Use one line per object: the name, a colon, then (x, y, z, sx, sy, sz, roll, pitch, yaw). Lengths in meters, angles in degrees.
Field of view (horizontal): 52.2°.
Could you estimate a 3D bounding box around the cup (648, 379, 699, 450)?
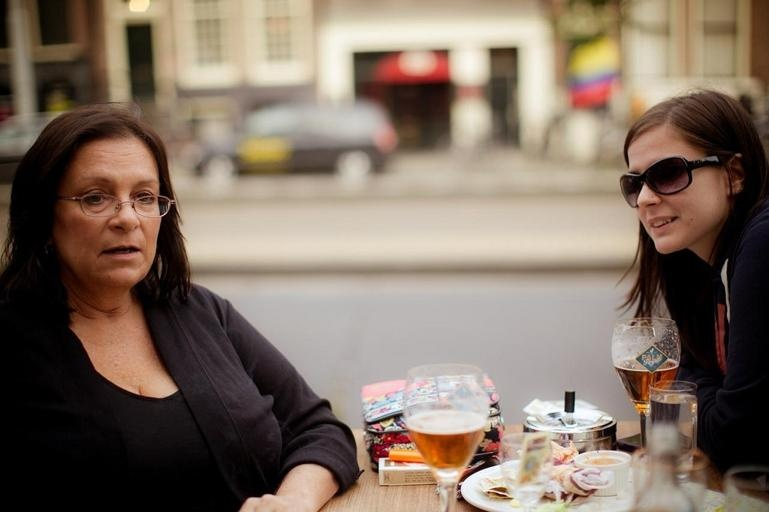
cup: (0.866, 0.484, 2.365, 0.143, 0.220, 0.138, -3, 1, 0)
